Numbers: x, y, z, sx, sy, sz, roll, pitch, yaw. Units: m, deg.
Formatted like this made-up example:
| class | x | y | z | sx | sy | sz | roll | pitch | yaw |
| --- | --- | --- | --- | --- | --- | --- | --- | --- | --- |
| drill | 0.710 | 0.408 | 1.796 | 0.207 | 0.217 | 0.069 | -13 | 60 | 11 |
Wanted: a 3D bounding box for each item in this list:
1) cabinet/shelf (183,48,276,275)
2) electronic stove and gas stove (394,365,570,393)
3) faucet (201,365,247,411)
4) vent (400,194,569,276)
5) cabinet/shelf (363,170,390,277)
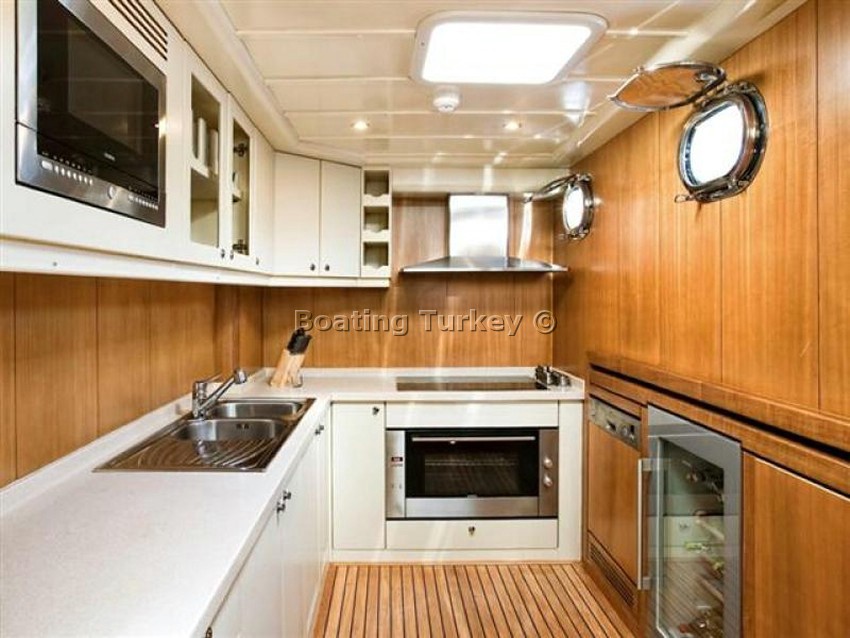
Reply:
| class | x | y | z | sx | sy | sz | roll | pitch | yaw |
| --- | --- | --- | --- | --- | --- | --- | --- | --- | --- |
| cabinet/shelf | -0.832 | -0.678 | 2.801 | 0.137 | 0.505 | 0.894 | 0 | 0 | -6 |
| electronic stove and gas stove | 0.333 | 0.324 | 3.865 | 0.987 | 0.110 | 0.592 | 1 | 3 | -3 |
| faucet | -0.966 | 0.331 | 3.230 | 0.191 | 0.198 | 0.548 | 0 | 3 | -13 |
| vent | 0.325 | -0.505 | 3.929 | 0.840 | 0.472 | 0.396 | 1 | 3 | -2 |
| cabinet/shelf | -0.281 | -0.563 | 3.967 | 0.174 | 0.630 | 0.281 | 1 | 3 | -2 |
